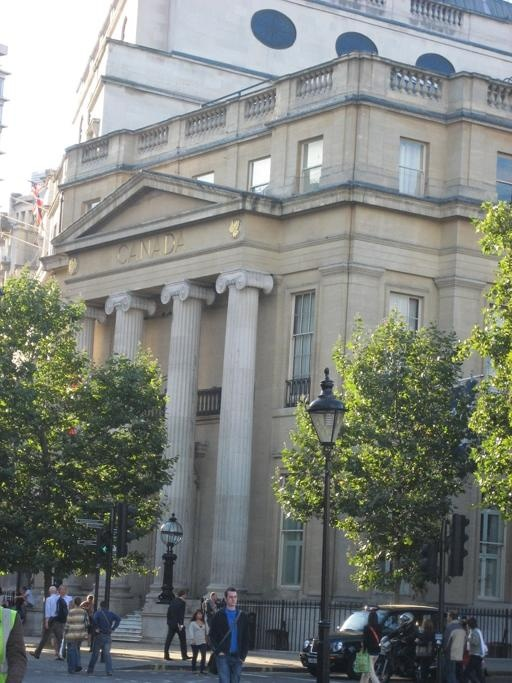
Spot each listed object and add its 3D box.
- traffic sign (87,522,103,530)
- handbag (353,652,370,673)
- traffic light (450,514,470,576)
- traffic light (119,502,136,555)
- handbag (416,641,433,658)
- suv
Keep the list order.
[{"bbox_3d":[-3.239,3.742,31.092,0.271,0.203,0.924,4,-13,-2],"label":"traffic sign"},{"bbox_3d":[1.865,5.564,26.280,0.248,0.355,0.360,4,-13,-1],"label":"handbag"},{"bbox_3d":[3.329,3.320,24.837,0.294,1.043,1.025,2,-13,8],"label":"traffic light"},{"bbox_3d":[-2.556,3.826,30.436,0.364,1.036,0.218,9,-21,-20],"label":"traffic light"},{"bbox_3d":[3.264,5.924,29.111,0.296,0.296,0.303,2,-17,0],"label":"handbag"},{"bbox_3d":[2.501,5.922,29.558,2.918,1.335,1.511,3,-7,-12],"label":"suv"}]
